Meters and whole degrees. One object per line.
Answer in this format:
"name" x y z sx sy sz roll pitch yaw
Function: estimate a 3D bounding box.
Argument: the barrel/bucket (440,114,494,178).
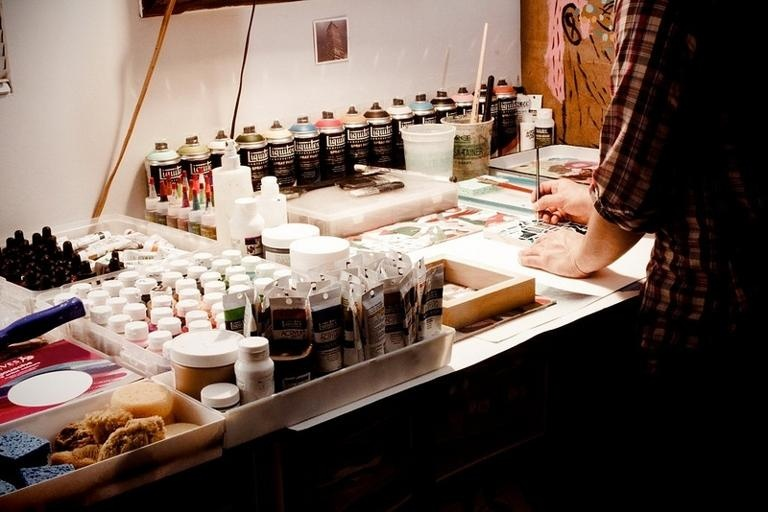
"barrel/bucket" 0.338 -0.450 2.204 0.235 0.231 0.242 -4 17 1

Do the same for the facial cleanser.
"facial cleanser" -0.072 0.088 1.205 0.384 0.244 0.363 -8 20 9

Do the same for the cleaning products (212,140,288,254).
"cleaning products" -0.362 -0.148 1.540 0.183 0.335 0.172 19 28 37
